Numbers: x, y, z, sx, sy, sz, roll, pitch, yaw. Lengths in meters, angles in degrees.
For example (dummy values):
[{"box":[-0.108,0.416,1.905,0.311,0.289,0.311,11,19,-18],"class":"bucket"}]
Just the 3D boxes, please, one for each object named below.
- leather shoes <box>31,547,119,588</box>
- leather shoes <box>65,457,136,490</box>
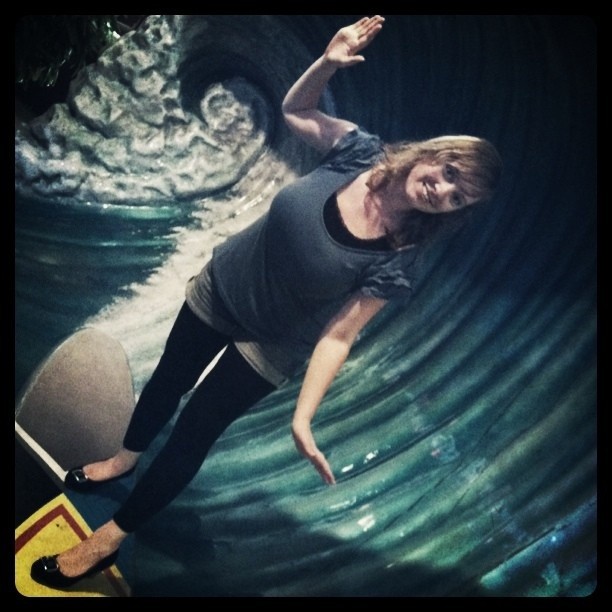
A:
[{"box":[-0.665,0.776,1.954,0.068,0.257,0.098,81,-4,-76],"class":"leather shoes"},{"box":[-0.604,0.503,1.969,0.055,0.207,0.078,110,-33,-68],"class":"leather shoes"}]
